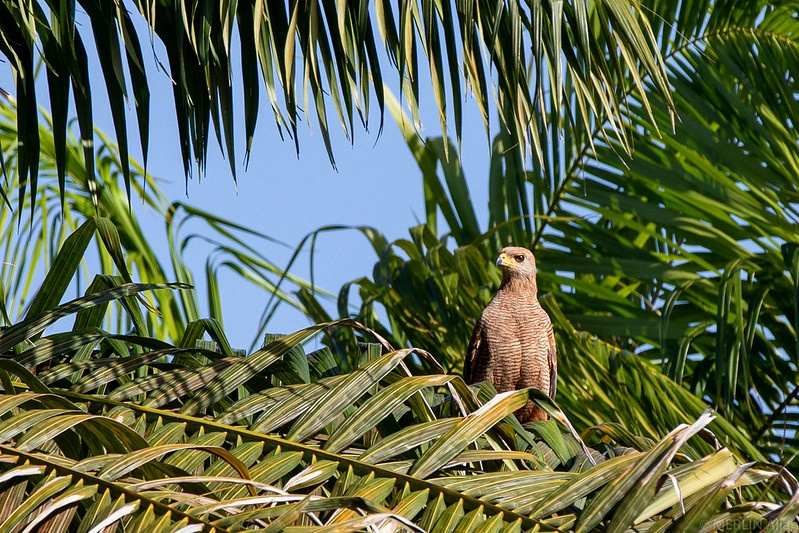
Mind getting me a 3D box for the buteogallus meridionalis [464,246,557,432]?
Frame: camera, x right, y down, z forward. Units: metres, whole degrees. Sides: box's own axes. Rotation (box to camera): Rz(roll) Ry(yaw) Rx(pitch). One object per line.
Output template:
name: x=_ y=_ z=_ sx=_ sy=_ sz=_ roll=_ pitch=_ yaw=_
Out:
buteogallus meridionalis: x=0.579 y=0.315 z=8.989 sx=0.485 sy=0.765 sz=0.432 roll=-2 pitch=-23 yaw=8
